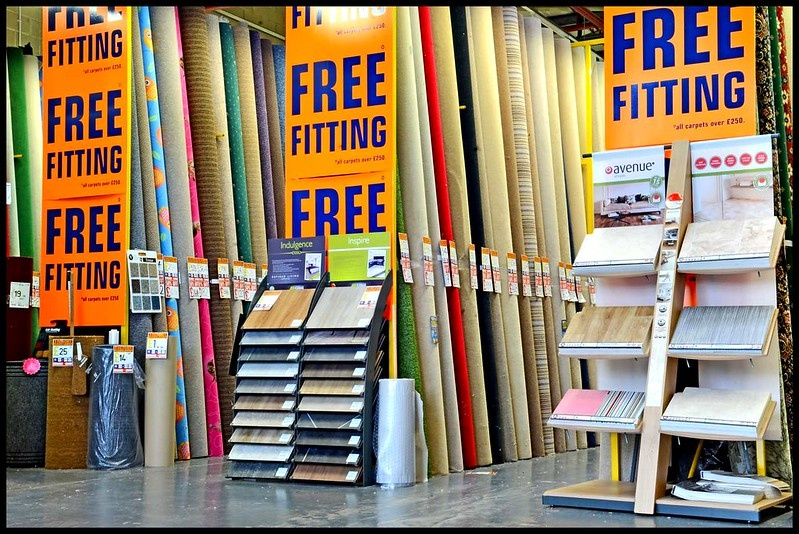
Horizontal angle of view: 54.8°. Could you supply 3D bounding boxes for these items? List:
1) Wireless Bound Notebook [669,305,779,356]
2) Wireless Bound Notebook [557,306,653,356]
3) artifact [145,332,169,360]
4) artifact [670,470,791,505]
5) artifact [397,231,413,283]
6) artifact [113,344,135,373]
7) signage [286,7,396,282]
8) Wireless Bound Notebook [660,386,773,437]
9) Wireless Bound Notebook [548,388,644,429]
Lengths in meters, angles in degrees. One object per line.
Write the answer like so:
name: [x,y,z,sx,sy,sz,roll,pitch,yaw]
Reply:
Wireless Bound Notebook: [1.811,0.356,4.351,0.474,0.292,0.303,-5,-1,37]
Wireless Bound Notebook: [1.218,0.379,4.521,0.428,0.126,0.365,-2,32,22]
artifact: [-1.911,0.646,6.271,0.219,0.203,0.199,-1,-6,12]
artifact: [1.885,1.244,4.359,0.524,0.101,0.576,-2,-3,35]
artifact: [0.049,-0.064,5.791,0.059,0.367,0.229,-6,-1,16]
artifact: [-2.148,0.722,6.038,0.123,0.213,0.176,-5,-1,8]
signage: [-0.464,-1.143,5.843,0.930,1.962,0.348,-6,-1,37]
Wireless Bound Notebook: [1.755,0.795,4.237,0.391,0.072,0.372,0,20,28]
Wireless Bound Notebook: [1.162,0.847,4.537,0.557,0.243,0.306,-4,-1,14]
